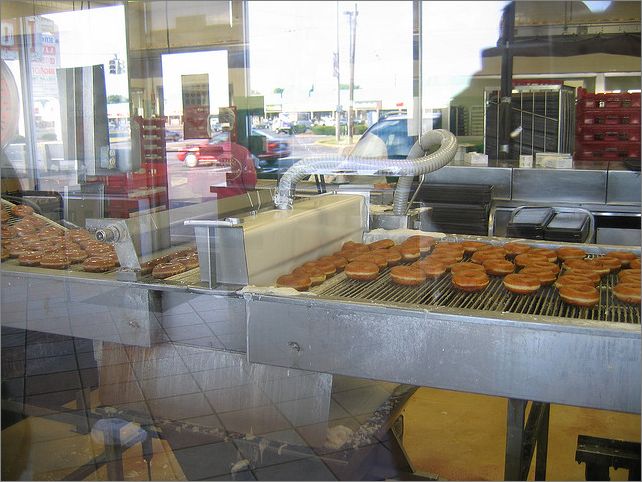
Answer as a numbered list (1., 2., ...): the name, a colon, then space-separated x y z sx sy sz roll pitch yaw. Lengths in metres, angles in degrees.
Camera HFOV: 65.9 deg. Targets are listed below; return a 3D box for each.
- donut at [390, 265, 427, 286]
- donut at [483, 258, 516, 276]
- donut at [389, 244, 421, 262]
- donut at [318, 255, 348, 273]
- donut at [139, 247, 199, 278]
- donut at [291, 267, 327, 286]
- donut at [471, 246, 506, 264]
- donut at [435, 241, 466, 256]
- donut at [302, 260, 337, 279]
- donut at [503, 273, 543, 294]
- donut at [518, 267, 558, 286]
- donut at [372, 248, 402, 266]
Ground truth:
1. donut: 0.234 0.093 1.332 0.091 0.040 0.073 8 16 41
2. donut: 0.493 0.075 1.366 0.061 0.018 0.058 -11 15 -40
3. donut: 0.255 0.037 1.467 0.062 0.018 0.061 -8 14 -34
4. donut: 0.037 0.065 1.414 0.057 0.017 0.053 7 15 24
5. donut: -0.386 0.066 1.277 0.103 0.022 0.095 -7 8 23
6. donut: -0.032 0.098 1.343 0.063 0.019 0.060 -3 14 -39
7. donut: 0.499 0.039 1.472 0.067 0.018 0.060 -9 8 1
8. donut: 0.389 0.023 1.486 0.065 0.019 0.059 -1 11 13
9. donut: 0.004 0.077 1.381 0.060 0.019 0.060 14 16 36
10. donut: 0.513 0.109 1.240 0.064 0.019 0.057 -6 15 -27
11. donut: 0.578 0.086 1.291 0.065 0.018 0.066 6 10 45
12. donut: 0.207 0.046 1.464 0.065 0.020 0.058 -6 17 -22
